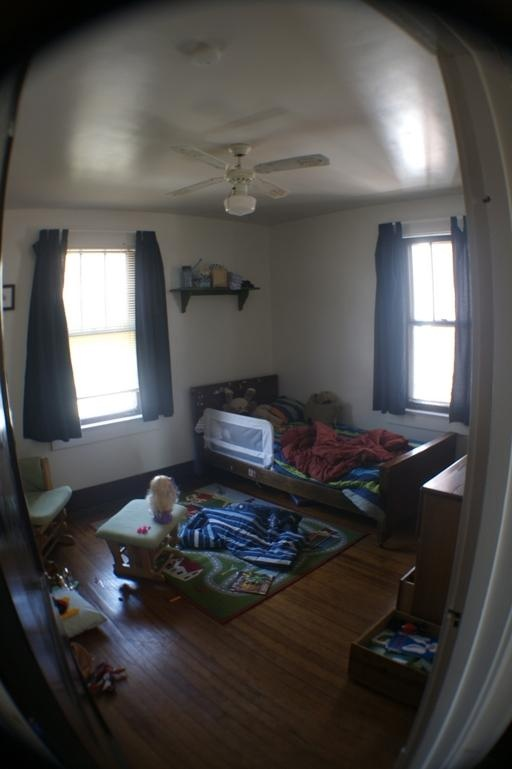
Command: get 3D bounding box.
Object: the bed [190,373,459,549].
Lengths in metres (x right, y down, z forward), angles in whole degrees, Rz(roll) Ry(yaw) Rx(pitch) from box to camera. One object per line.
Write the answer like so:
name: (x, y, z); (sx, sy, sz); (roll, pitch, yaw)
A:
bed: (0.441, 0.376, 3.935); (1.631, 0.724, 1.206); (9, 13, 38)

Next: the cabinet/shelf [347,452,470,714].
cabinet/shelf: (0.522, 0.646, 1.875); (0.293, 0.636, 0.573); (4, 8, 38)

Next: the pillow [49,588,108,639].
pillow: (-0.712, 0.897, 2.267); (0.182, 0.155, 0.355); (-4, 8, -24)

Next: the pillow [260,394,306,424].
pillow: (0.231, 0.190, 4.520); (0.218, 0.066, 0.210); (20, 19, 35)

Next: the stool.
stool: (-0.544, 0.760, 2.829); (0.349, 0.274, 0.390); (3, 19, 19)
